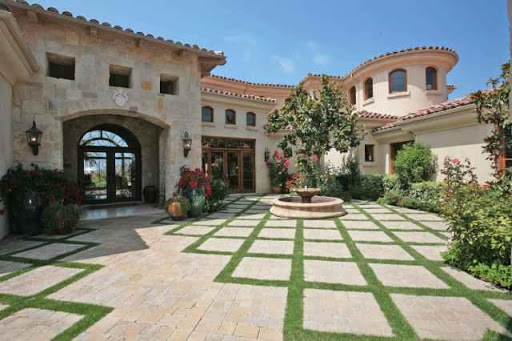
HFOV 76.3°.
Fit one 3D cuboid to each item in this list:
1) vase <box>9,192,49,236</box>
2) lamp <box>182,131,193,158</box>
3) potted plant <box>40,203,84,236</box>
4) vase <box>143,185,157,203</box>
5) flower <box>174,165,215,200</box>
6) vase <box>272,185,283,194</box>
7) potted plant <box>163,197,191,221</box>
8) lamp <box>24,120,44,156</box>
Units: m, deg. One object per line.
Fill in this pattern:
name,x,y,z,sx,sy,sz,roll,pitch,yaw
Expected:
vase,-6.962,1.294,10.123,1.146,1.255,1.132,2,2,-37
lamp,-2.650,-1.004,12.593,0.334,1.001,0.390,-1,7,-4
potted plant,-5.792,1.470,9.974,0.965,0.870,0.926,-2,-4,16
vase,-4.845,1.094,14.950,0.803,0.852,0.785,0,0,-29
flower,-2.350,0.494,12.210,1.276,1.301,1.031,-2,7,-10
vase,1.237,1.080,18.518,0.469,0.316,0.465,-1,3,-45
potted plant,-2.754,1.332,11.463,0.817,0.728,0.818,-3,-4,36
lamp,-7.038,-1.026,10.371,0.453,1.098,0.357,-6,9,-35
